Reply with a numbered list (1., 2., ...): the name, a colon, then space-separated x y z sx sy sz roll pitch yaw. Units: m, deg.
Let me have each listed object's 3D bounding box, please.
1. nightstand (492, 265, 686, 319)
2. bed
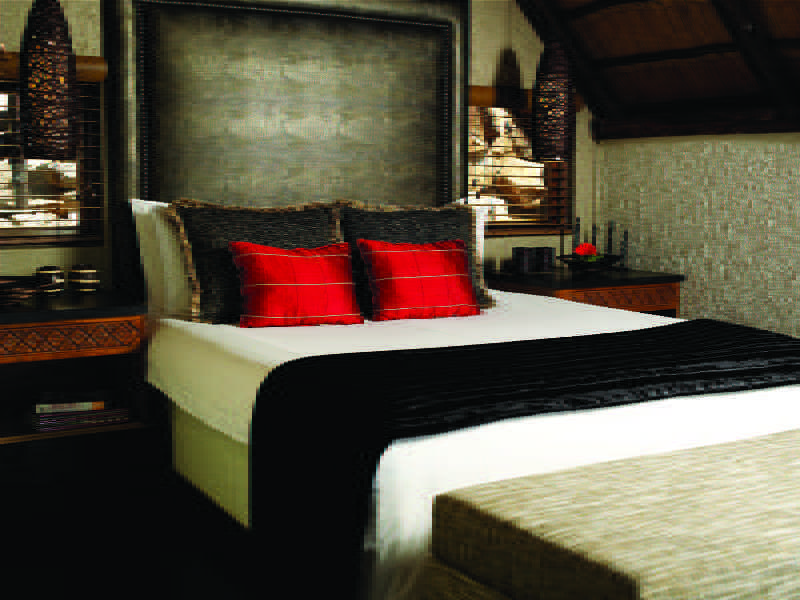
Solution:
1. nightstand: 1.281 -0.086 4.221 0.596 0.391 0.647 -4 7 -34
2. bed: 0.051 0.143 2.275 1.217 1.274 1.604 -5 9 -33
